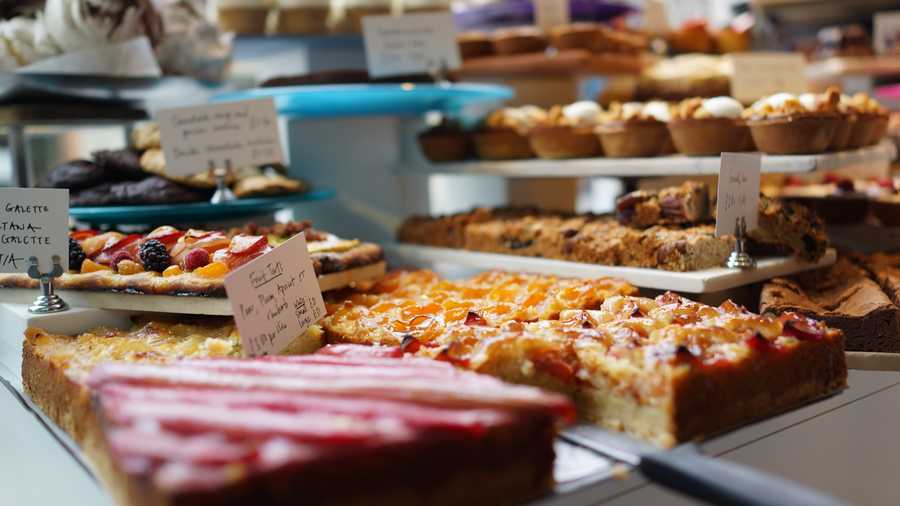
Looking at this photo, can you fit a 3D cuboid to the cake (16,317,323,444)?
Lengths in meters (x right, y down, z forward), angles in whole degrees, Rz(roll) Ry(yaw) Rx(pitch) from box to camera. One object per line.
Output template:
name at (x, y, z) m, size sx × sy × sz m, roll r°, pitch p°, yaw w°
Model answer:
cake at (-0.814, 0.277, 1.760) m, size 0.563 × 0.116 × 0.544 m, roll 3°, pitch 12°, yaw 4°

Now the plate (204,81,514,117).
plate at (-0.277, -0.537, 2.438) m, size 0.970 × 0.136 × 0.507 m, roll -9°, pitch 16°, yaw -23°

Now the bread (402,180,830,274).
bread at (0.516, -0.120, 2.389) m, size 1.324 × 0.263 × 0.458 m, roll 7°, pitch 19°, yaw 34°

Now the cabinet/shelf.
cabinet/shelf at (0.496, -0.115, 2.288) m, size 0.959 × 0.218 × 1.034 m, roll 6°, pitch 10°, yaw 40°
